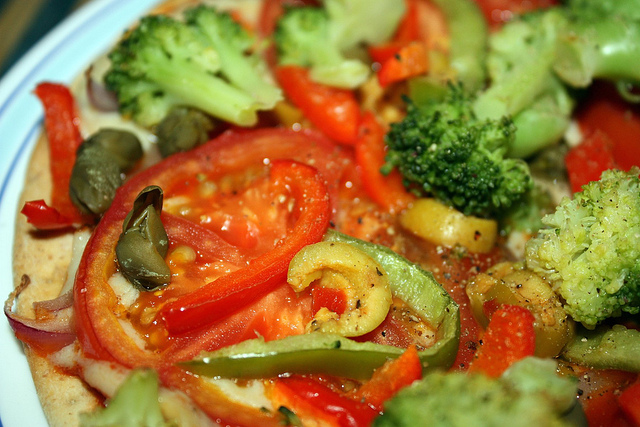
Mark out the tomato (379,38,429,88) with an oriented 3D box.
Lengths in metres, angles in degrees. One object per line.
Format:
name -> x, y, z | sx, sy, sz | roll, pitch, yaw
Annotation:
tomato -> 0.490, -0.887, 4.240 | 0.283, 0.306, 0.122 | -23, 72, -40
